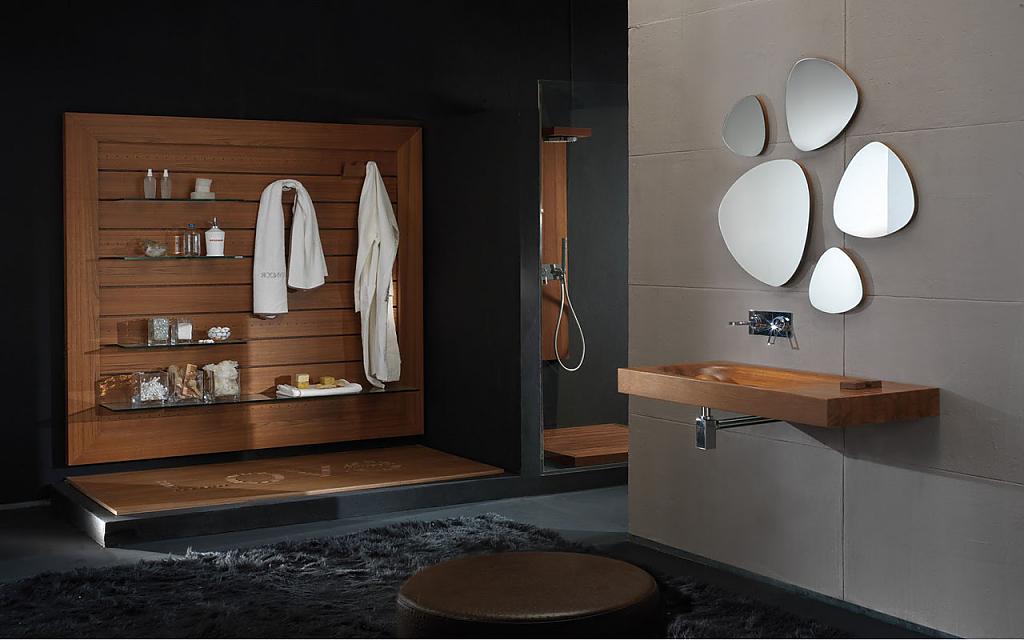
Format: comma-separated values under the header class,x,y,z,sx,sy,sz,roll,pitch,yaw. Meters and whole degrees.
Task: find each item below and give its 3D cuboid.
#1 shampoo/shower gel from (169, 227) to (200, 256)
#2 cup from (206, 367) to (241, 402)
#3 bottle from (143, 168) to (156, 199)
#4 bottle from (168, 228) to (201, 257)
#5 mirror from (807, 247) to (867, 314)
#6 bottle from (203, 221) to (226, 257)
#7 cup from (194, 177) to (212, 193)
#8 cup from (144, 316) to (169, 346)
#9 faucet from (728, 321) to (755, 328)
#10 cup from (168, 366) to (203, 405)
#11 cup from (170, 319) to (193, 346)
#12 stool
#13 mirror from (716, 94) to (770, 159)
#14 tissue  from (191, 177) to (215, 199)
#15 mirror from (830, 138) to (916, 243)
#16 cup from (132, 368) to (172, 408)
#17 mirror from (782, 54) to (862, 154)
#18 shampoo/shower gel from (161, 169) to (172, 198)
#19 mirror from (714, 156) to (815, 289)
class,x,y,z,sx,sy,sz,roll,pitch,yaw
shampoo/shower gel,-2.500,-0.592,5.748,0.214,0.230,0.210,0,3,-24
cup,-2.200,0.484,5.737,0.217,0.264,0.111,-4,4,-25
bottle,-2.704,-1.022,5.639,0.105,0.240,0.091,-5,4,-37
bottle,-2.469,-0.581,5.734,0.226,0.219,0.119,-4,4,-23
mirror,1.673,-0.201,3.846,0.043,0.380,0.358,-3,3,-37
bottle,-2.277,-0.624,5.813,0.185,0.290,0.113,-5,5,-41
cup,-2.375,-1.028,5.767,0.128,0.118,0.070,-3,4,-10
cup,-2.601,0.109,5.583,0.193,0.250,0.190,0,-2,0
faucet,1.284,0.029,4.234,0.032,0.034,0.142,-6,6,-44
cup,-2.433,0.491,5.611,0.269,0.339,0.281,2,1,0
cup,-2.483,0.092,5.736,0.226,0.204,0.160,2,3,4
stool,0.071,1.074,2.773,0.930,0.231,0.524,-1,4,6
mirror,1.300,-1.086,4.201,0.065,0.432,0.394,-3,6,-33
tissue ,-2.358,-0.997,5.749,0.182,0.167,0.169,-2,3,-44
mirror,1.792,-0.638,3.699,0.045,0.597,0.550,-4,6,-40
cup,-2.619,0.509,5.479,0.259,0.243,0.138,-4,4,-25
mirror,1.598,-1.123,3.883,0.064,0.483,0.368,-5,5,-43
shampoo/shower gel,-2.616,-1.028,5.691,0.088,0.237,0.098,-4,4,-23
mirror,1.381,-0.520,4.117,0.116,0.691,0.507,-5,5,-36
